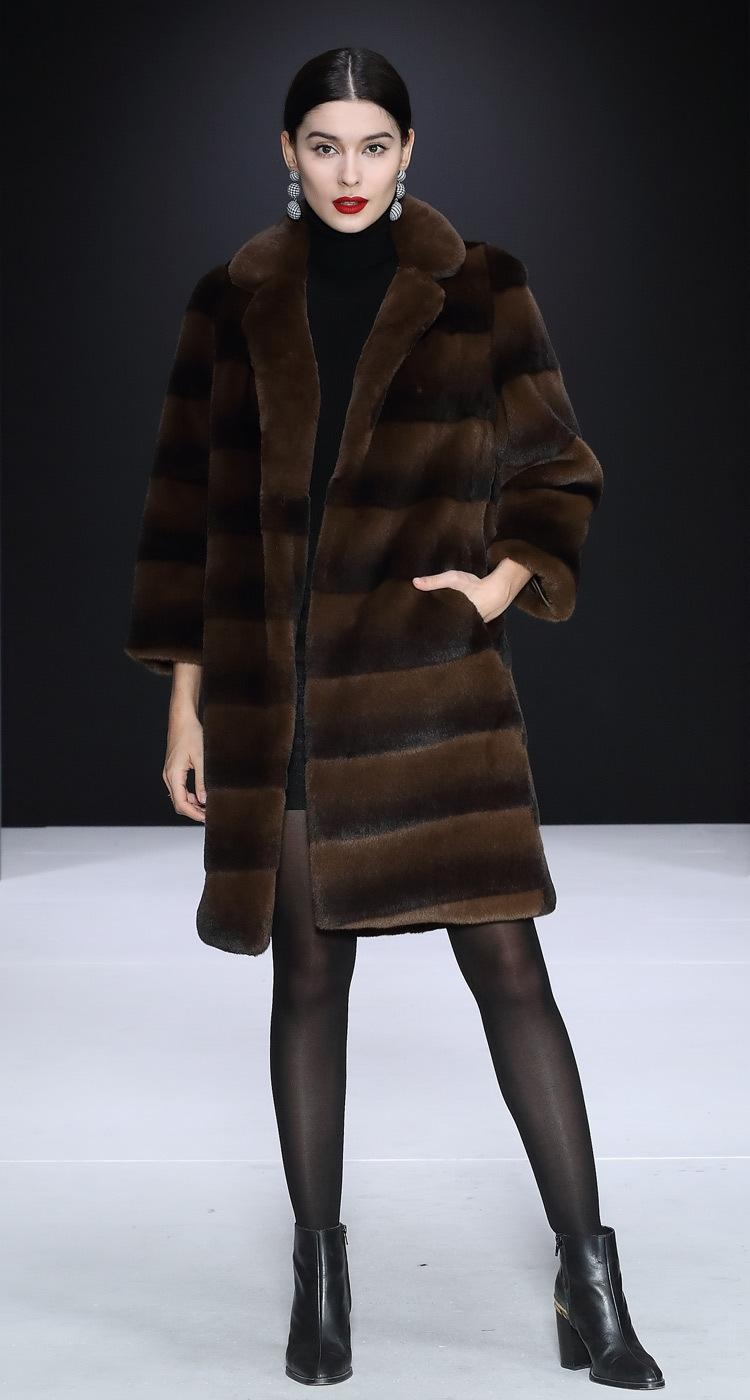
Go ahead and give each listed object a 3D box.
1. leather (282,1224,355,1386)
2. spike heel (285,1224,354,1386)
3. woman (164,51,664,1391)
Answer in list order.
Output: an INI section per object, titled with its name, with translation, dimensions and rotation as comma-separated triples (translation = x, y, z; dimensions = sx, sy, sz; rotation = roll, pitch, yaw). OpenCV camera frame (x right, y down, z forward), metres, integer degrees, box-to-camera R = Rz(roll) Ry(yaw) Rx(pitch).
[leather]
translation = -0.050, 0.556, 1.177
dimensions = 0.060, 0.118, 0.122
rotation = -1, -11, -1
[spike heel]
translation = -0.046, 0.551, 1.165
dimensions = 0.064, 0.123, 0.128
rotation = 1, 2, 3
[woman]
translation = 0.001, 0.016, 1.220
dimensions = 0.451, 1.106, 0.205
rotation = -4, 1, 10
